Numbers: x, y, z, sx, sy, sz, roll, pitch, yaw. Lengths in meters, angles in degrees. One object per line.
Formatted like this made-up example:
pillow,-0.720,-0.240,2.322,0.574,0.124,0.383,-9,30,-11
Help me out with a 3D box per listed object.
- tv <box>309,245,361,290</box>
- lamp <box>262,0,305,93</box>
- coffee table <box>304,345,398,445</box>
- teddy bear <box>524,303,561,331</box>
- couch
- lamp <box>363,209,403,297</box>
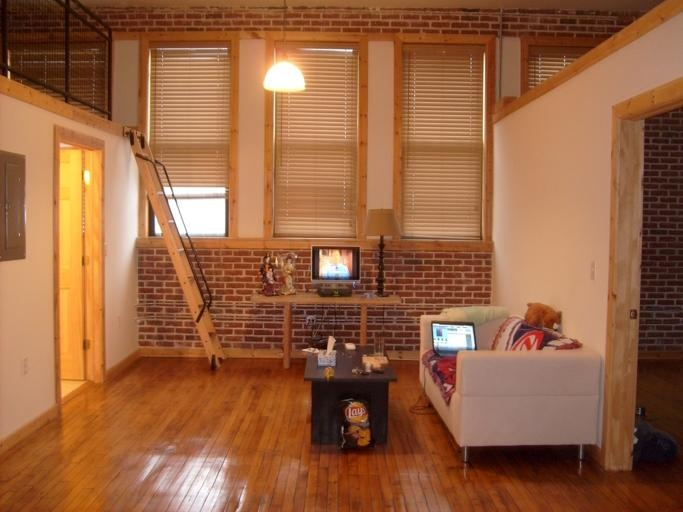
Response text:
tv,-0.087,0.138,7.389,0.828,0.703,0.436,1,2,-1
lamp,-0.630,-2.338,6.569,0.492,1.119,1.856,-1,12,-5
coffee table,0.068,1.281,5.498,0.788,0.650,0.702,0,12,-1
teddy bear,1.924,0.563,5.735,0.190,0.166,0.268,2,-1,-11
couch,1.520,1.200,5.360,0.952,0.836,1.680,1,-2,3
lamp,0.481,-0.058,7.184,0.395,1.028,0.575,1,12,5
